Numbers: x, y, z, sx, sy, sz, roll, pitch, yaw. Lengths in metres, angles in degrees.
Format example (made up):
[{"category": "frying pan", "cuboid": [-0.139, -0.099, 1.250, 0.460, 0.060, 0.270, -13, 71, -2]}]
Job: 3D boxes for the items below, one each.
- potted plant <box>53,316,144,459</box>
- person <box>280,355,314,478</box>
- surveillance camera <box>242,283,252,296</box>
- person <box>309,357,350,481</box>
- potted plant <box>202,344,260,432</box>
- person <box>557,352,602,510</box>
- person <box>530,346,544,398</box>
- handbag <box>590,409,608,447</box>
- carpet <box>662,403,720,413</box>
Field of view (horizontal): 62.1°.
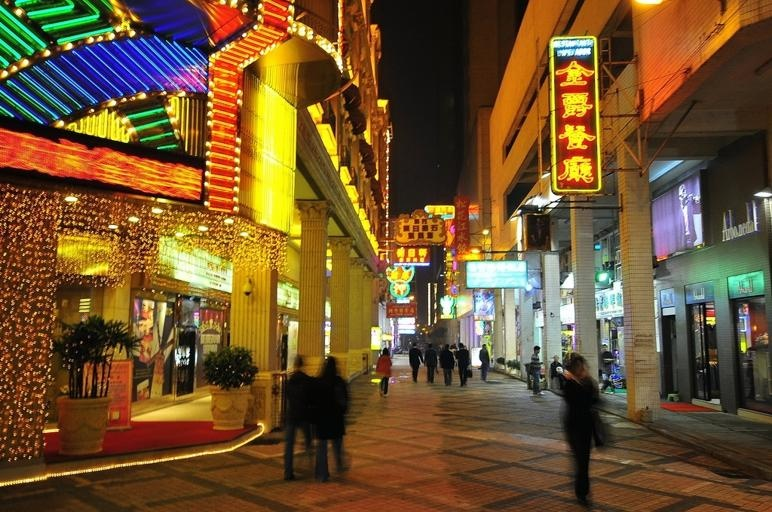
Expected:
[{"category": "potted plant", "cuboid": [-6.857, 2.968, 14.955, 1.617, 3.078, 2.008, 4, -14, -22]}, {"category": "person", "cuboid": [-1.881, 3.383, 13.719, 0.581, 2.612, 0.959, 1, -13, -8]}, {"category": "surveillance camera", "cuboid": [-3.879, 0.922, 18.082, 0.235, 0.333, 0.260, 2, -13, -14]}, {"category": "person", "cuboid": [-1.185, 3.432, 13.840, 0.709, 2.551, 1.281, 0, -13, -4]}, {"category": "potted plant", "cuboid": [-4.090, 3.432, 16.790, 1.273, 2.149, 0.664, 2, -13, -15]}, {"category": "person", "cuboid": [3.834, 3.354, 12.577, 0.722, 2.860, 0.547, -5, -13, 16]}, {"category": "person", "cuboid": [6.226, 4.749, 26.868, 0.398, 1.957, 0.863, -3, -13, 11]}, {"category": "handbag", "cuboid": [4.239, 3.437, 12.771, 0.231, 0.720, 0.899, -5, -13, 18]}, {"category": "carpet", "cuboid": [10.116, 5.044, 21.500, 1.666, 0.295, 2.065, -6, -14, 21]}]
